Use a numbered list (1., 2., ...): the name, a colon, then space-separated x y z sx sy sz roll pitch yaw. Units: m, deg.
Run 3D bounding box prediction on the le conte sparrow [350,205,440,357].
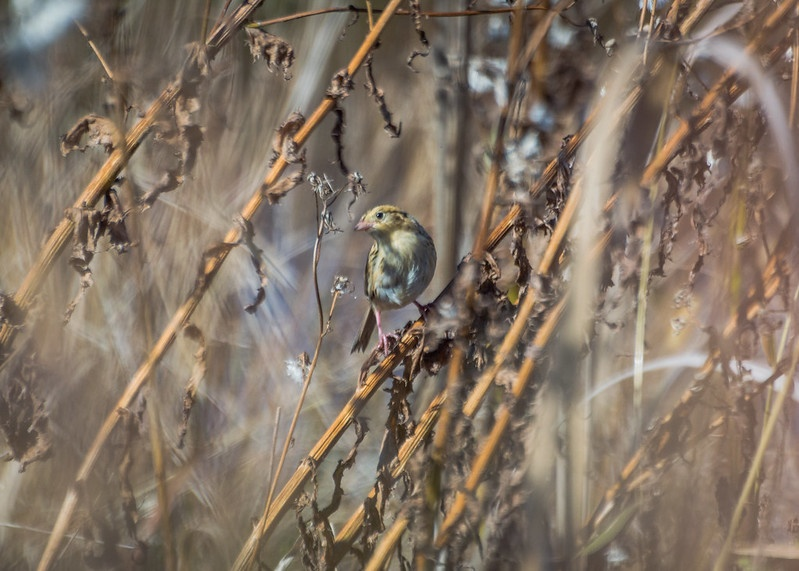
1. le conte sparrow: -0.042 -0.015 5.433 0.367 0.734 0.462 7 -16 9
